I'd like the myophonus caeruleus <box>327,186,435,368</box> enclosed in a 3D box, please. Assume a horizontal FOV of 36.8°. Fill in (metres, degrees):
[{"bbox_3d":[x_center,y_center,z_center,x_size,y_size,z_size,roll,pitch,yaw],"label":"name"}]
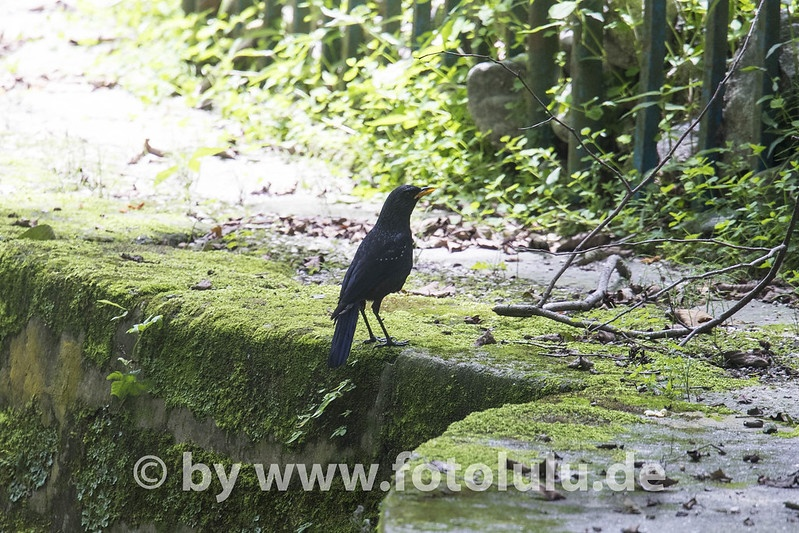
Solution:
[{"bbox_3d":[-0.154,0.057,8.475,0.635,1.365,0.485,6,-7,-8],"label":"myophonus caeruleus"}]
